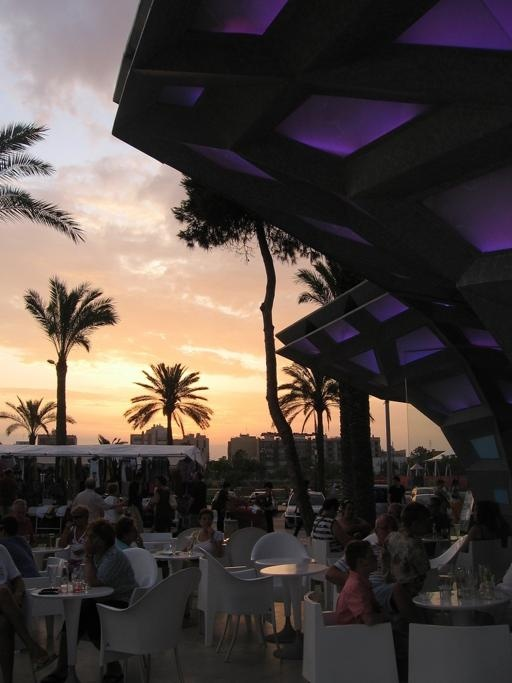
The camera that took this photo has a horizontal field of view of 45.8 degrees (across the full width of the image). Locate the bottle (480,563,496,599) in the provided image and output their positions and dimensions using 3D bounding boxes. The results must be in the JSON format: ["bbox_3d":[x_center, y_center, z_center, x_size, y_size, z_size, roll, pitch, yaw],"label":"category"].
[{"bbox_3d":[1.997,2.109,5.270,0.116,0.255,0.394,-3,-7,23],"label":"bottle"}]

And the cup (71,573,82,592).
[{"bbox_3d":[-1.622,2.224,5.529,0.100,0.120,0.092,-3,-9,-1],"label":"cup"}]
